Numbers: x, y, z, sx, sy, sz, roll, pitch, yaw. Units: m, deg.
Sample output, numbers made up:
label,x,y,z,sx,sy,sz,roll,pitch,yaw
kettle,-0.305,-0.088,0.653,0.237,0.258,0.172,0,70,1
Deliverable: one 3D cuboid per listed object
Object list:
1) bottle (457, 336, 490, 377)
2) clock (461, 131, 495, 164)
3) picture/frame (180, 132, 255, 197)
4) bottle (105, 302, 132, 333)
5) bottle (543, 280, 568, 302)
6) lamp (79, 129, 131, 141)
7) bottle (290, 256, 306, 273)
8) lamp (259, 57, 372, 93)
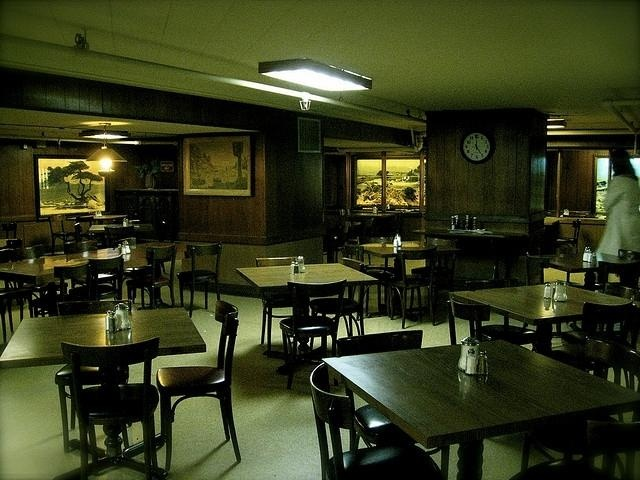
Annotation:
label,x,y,z,sx,sy,sz,roll,pitch,yaw
bottle,1.002,0.751,3.735,0.198,0.240,0.233,-1,4,14
clock,2.585,-1.512,9.420,0.499,0.480,0.508,3,7,27
picture/frame,-1.594,-1.228,9.221,1.077,0.763,0.075,2,2,26
bottle,-1.536,0.591,4.381,0.192,0.207,0.190,-3,4,-22
bottle,2.104,0.463,5.180,0.243,0.200,0.136,-1,-1,17
lamp,-3.810,-1.889,10.218,0.515,0.108,0.524,0,2,-23
bottle,-0.244,0.277,6.306,0.146,0.193,0.194,0,-2,-5
lamp,-0.032,-1.536,5.349,0.456,0.167,1.005,2,5,45
